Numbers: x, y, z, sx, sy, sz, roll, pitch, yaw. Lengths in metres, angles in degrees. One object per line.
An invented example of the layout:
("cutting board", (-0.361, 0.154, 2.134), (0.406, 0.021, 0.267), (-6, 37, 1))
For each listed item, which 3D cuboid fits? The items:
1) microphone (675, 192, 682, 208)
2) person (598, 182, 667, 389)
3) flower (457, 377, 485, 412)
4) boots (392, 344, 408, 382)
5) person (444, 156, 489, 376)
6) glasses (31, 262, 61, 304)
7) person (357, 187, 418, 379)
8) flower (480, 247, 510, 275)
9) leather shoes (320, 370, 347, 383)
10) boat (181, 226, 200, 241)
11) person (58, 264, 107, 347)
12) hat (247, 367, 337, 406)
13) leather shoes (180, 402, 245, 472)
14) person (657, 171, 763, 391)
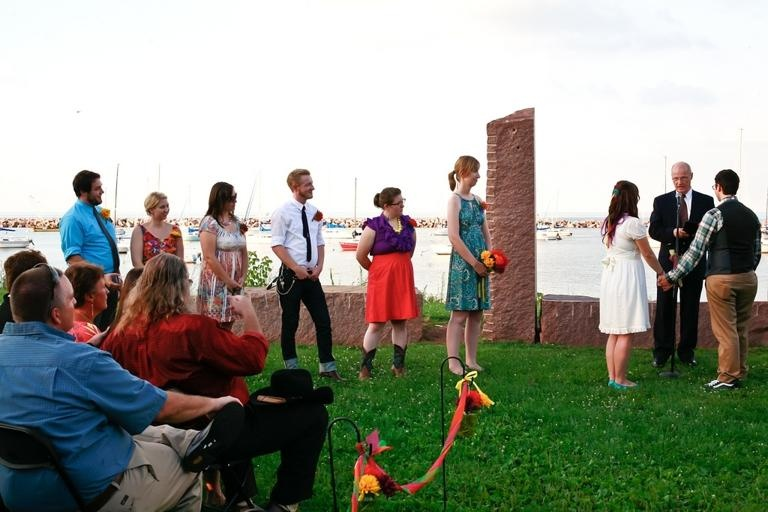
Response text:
("microphone", (3.854, -0.732, 9.210), (0.049, 0.162, 0.117), (7, -3, -7))
("person", (2.776, 0.360, 8.108), (0.632, 2.391, 0.577), (6, 12, 30))
("flower", (0.658, 1.077, 5.444), (0.187, 0.323, 0.317), (0, 11, 3))
("boots", (0.187, 1.312, 8.908), (0.326, 0.482, 0.220), (-1, -2, -1))
("person", (1.063, 0.127, 8.837), (0.566, 2.699, 0.538), (0, 10, 3))
("glasses", (-2.290, 0.169, 4.836), (0.214, 0.228, 0.059), (1, 0, -39))
("person", (0.041, 0.347, 8.634), (0.720, 2.328, 0.624), (-1, 10, -3))
("flower", (1.396, 0.041, 8.646), (0.279, 0.279, 0.277), (-24, -9, -22))
("leather shoes", (-0.638, 1.471, 8.599), (0.321, 0.210, 0.116), (-3, -1, 10))
("boat", (-15.795, -1.841, 57.490), (1.863, 0.685, 2.028), (1, 12, 12))
("person", (-2.574, 0.469, 6.051), (0.418, 0.869, 0.852), (-1, 9, -25))
("hat", (-0.693, 1.012, 5.391), (0.403, 0.163, 0.356), (-4, -1, 0))
("leather shoes", (-1.191, 1.272, 5.121), (0.616, 0.267, 0.278), (-43, 8, -18))
("person", (3.970, 0.266, 8.216), (1.080, 2.476, 0.761), (0, 10, 0))
